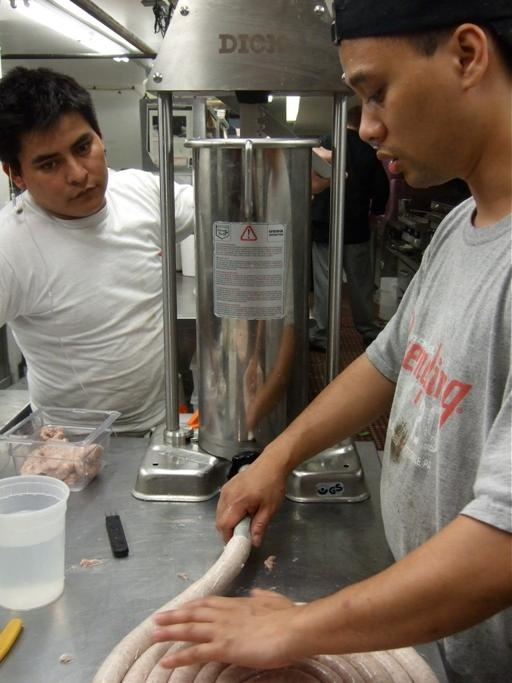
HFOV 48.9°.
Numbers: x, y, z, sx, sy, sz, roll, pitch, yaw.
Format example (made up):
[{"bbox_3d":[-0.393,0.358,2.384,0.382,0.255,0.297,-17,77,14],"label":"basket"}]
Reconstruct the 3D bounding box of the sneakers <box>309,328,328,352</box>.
[{"bbox_3d":[0.429,-0.019,3.858,0.137,0.227,0.110,-2,22,-5],"label":"sneakers"}]
